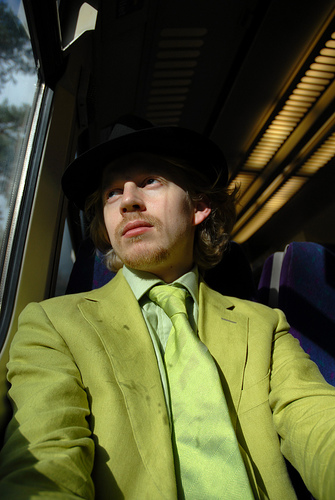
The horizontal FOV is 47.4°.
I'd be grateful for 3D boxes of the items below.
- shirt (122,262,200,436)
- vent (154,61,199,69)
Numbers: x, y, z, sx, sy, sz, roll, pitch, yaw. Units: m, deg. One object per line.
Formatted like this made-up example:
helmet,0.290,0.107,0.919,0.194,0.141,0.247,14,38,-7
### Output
shirt,-0.018,0.274,1.335,0.202,0.451,0.091,6,-20,-18
vent,0.060,-1.127,2.309,0.181,0.045,0.028,-2,59,-5
